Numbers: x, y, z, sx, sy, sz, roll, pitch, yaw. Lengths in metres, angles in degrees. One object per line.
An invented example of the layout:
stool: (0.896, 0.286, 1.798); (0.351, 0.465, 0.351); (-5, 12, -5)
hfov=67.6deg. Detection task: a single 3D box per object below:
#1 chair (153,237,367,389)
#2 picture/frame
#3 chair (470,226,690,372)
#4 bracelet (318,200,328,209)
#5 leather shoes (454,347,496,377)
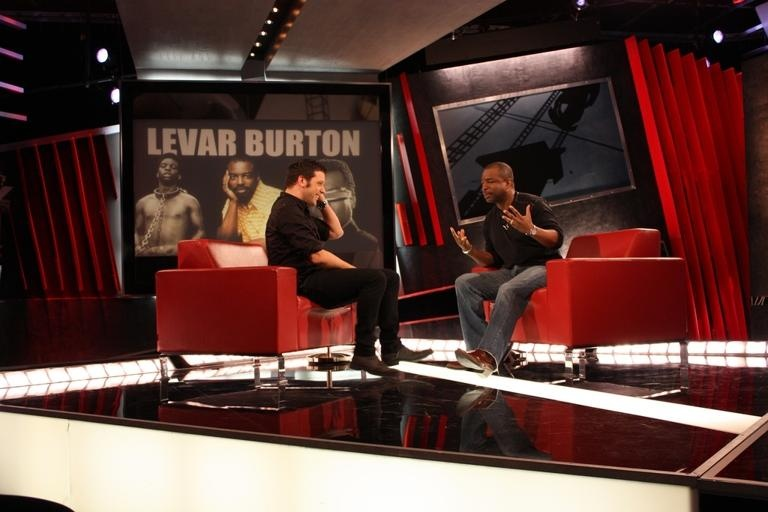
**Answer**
chair: (-0.885, 0.367, 4.561); (1.191, 0.911, 1.501); (-3, -3, 30)
picture/frame: (1.691, -1.104, 6.245); (1.844, 1.141, 0.039); (-12, -3, 0)
chair: (1.625, 0.328, 4.620); (1.114, 1.032, 1.214); (-2, -3, -14)
bracelet: (-0.521, -0.442, 4.873); (0.089, 0.053, 0.083); (-5, 3, 25)
leather shoes: (0.660, 0.760, 4.220); (0.307, 0.159, 0.171); (27, -14, -21)
